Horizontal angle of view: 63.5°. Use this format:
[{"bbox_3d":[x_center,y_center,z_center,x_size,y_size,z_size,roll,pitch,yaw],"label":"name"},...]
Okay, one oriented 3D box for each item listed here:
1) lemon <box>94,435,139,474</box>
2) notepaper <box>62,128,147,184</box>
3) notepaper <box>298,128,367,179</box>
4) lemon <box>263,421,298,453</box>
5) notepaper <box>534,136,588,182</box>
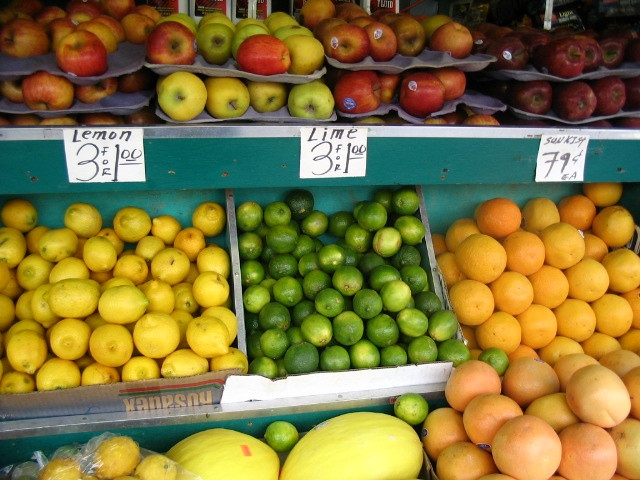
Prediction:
[{"bbox_3d":[-0.773,0.844,1.978,0.149,0.128,0.145,-10,27,-16],"label":"lemon"},{"bbox_3d":[-0.893,-0.354,2.114,0.215,0.166,0.030,-4,25,-5],"label":"notepaper"},{"bbox_3d":[0.046,-0.392,2.283,0.213,0.164,0.029,-4,25,-8],"label":"notepaper"},{"bbox_3d":[-0.168,0.864,2.281,0.137,0.113,0.126,3,-8,3],"label":"lemon"},{"bbox_3d":[1.164,-0.406,2.516,0.202,0.188,0.029,-8,31,-19],"label":"notepaper"}]
